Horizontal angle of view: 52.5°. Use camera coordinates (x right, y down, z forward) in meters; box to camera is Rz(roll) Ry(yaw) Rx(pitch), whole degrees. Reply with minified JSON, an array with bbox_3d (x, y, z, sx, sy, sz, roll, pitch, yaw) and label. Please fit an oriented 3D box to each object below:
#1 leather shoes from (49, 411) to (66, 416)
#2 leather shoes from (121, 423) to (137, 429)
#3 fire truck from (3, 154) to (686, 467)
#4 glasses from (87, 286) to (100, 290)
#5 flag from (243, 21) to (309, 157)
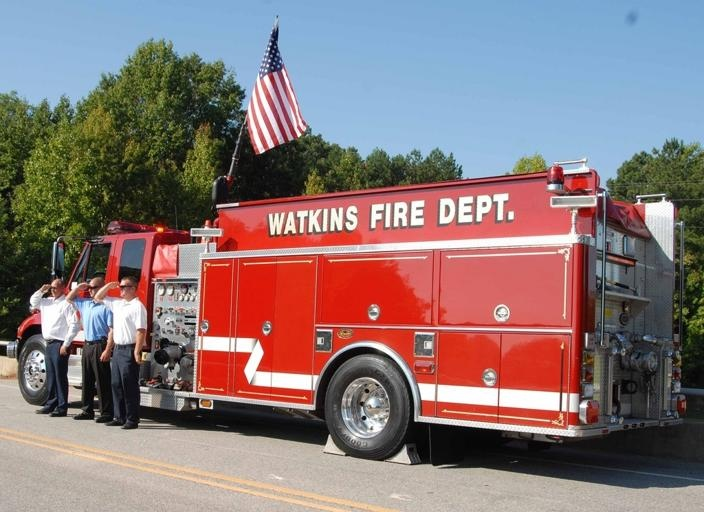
[{"bbox_3d":[-5.187,2.750,12.570,0.194,0.096,0.110,3,-9,7],"label":"leather shoes"},{"bbox_3d":[-3.722,2.810,11.856,0.098,0.130,0.284,-7,-20,45],"label":"leather shoes"},{"bbox_3d":[-0.983,1.453,12.656,10.291,4.195,3.669,-1,-14,23],"label":"fire truck"},{"bbox_3d":[-4.626,0.567,12.787,0.114,0.039,0.121,-6,-14,41],"label":"glasses"},{"bbox_3d":[-1.609,-3.713,14.653,1.180,3.373,0.174,-6,-18,5],"label":"flag"}]
